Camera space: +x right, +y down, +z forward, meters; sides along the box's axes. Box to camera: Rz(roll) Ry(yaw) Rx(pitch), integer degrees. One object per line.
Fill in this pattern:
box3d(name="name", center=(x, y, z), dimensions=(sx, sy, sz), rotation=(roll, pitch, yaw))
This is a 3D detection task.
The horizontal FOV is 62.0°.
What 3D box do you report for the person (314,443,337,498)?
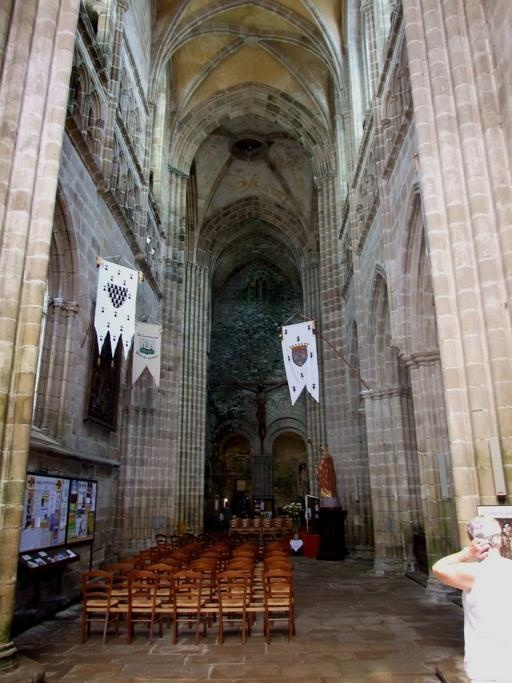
box3d(name="person", center=(2.163, 4.017, 13.228), dimensions=(0.496, 1.583, 0.974), rotation=(-4, -18, 7))
